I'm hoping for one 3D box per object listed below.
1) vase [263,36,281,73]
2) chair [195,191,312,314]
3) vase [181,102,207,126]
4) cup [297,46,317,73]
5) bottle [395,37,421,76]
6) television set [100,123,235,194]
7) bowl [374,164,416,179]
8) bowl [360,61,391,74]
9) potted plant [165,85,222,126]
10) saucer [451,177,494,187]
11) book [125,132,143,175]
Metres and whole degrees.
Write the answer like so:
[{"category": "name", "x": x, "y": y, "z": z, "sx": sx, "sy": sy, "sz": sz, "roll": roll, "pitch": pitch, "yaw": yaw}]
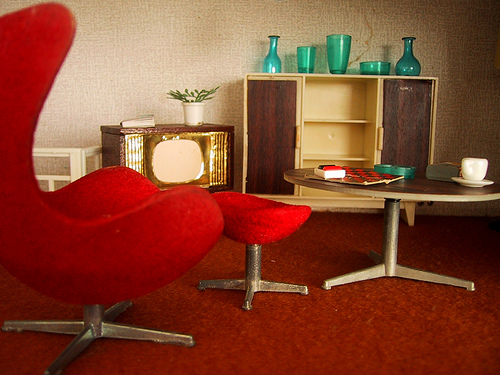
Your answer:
[{"category": "vase", "x": 0.166, "y": -0.994, "z": 3.394, "sx": 0.133, "sy": 0.264, "sz": 0.190, "roll": -1, "pitch": 14, "yaw": 1}, {"category": "chair", "x": 0.072, "y": 0.285, "z": 2.184, "sx": 0.531, "sy": 0.540, "sz": 0.564, "roll": -6, "pitch": -7, "yaw": 41}, {"category": "vase", "x": -0.379, "y": -0.501, "z": 3.126, "sx": 0.159, "sy": 0.128, "sz": 0.163, "roll": 11, "pitch": 15, "yaw": 40}, {"category": "cup", "x": 0.421, "y": -0.967, "z": 3.416, "sx": 0.134, "sy": 0.199, "sz": 0.127, "roll": -1, "pitch": 14, "yaw": 0}, {"category": "bottle", "x": 1.188, "y": -0.987, "z": 3.400, "sx": 0.249, "sy": 0.288, "sz": 0.145, "roll": -13, "pitch": 19, "yaw": -41}, {"category": "television set", "x": -0.513, "y": -0.187, "z": 3.043, "sx": 0.825, "sy": 0.463, "sz": 0.302, "roll": -8, "pitch": 16, "yaw": -27}, {"category": "bowl", "x": 0.727, "y": -0.082, "z": 2.322, "sx": 0.225, "sy": 0.055, "sz": 0.147, "roll": 6, "pitch": 15, "yaw": 29}, {"category": "bowl", "x": 0.941, "y": -0.905, "z": 3.411, "sx": 0.161, "sy": 0.095, "sz": 0.157, "roll": -1, "pitch": 13, "yaw": 0}, {"category": "potted plant", "x": -0.391, "y": -0.549, "z": 3.240, "sx": 0.346, "sy": 0.205, "sz": 0.329, "roll": -1, "pitch": 4, "yaw": -39}, {"category": "saucer", "x": 1.026, "y": -0.022, "z": 2.093, "sx": 0.180, "sy": 0.029, "sz": 0.146, "roll": 5, "pitch": 14, "yaw": 22}, {"category": "book", "x": -0.710, "y": -0.191, "z": 2.799, "sx": 0.135, "sy": 0.282, "sz": 0.022, "roll": 2, "pitch": 6, "yaw": 16}]
